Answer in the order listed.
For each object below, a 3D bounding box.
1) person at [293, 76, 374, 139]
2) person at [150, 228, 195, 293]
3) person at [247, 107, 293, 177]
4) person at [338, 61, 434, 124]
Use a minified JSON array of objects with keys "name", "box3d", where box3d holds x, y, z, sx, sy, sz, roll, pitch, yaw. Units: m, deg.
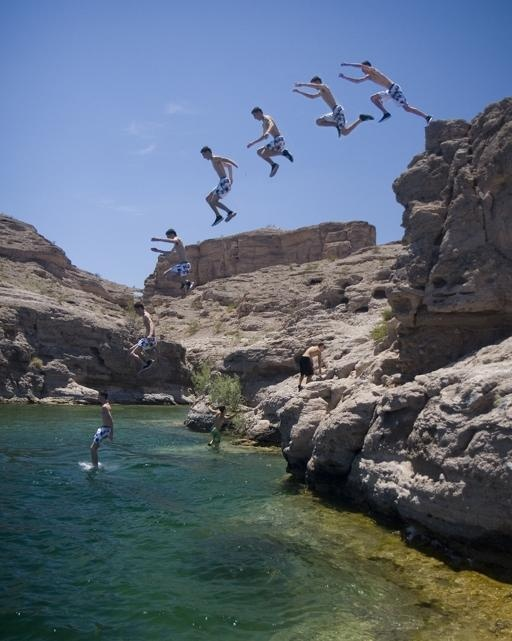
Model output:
[{"name":"person","box3d":[1.739,-4.793,13.773,1.820,1.277,0.806,-4,7,6]},{"name":"person","box3d":[-2.094,-1.468,15.380,1.254,1.635,1.035,2,-7,9]},{"name":"person","box3d":[0.292,-3.992,13.813,0.764,1.095,1.079,1,1,10]},{"name":"person","box3d":[2.845,-5.018,13.327,2.246,1.255,0.705,5,6,5]}]
